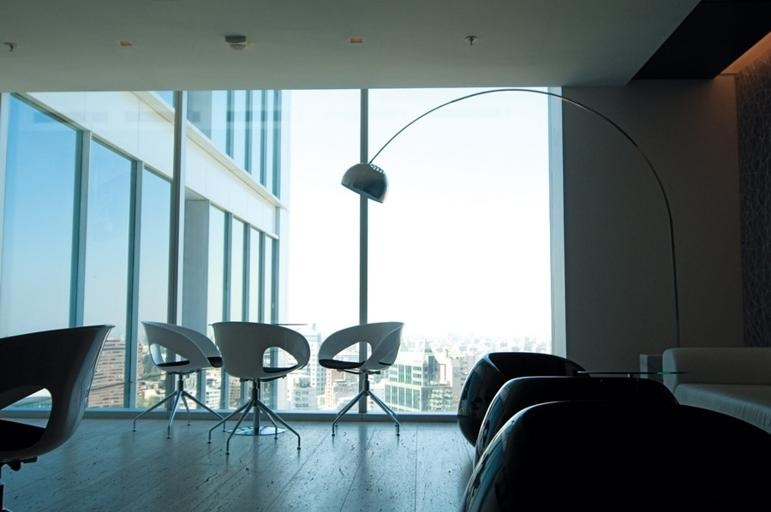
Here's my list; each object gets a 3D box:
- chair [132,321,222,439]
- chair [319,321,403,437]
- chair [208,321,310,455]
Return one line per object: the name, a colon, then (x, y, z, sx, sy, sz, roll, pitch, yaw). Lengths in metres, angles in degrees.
chair: (-2.043, 1.185, 6.094, 0.754, 1.065, 0.916, 1, -5, -20)
chair: (-0.229, 1.249, 6.208, 0.833, 1.080, 0.736, -6, -7, 5)
chair: (-1.151, 1.145, 5.328, 0.766, 0.976, 0.688, 3, -4, -28)
